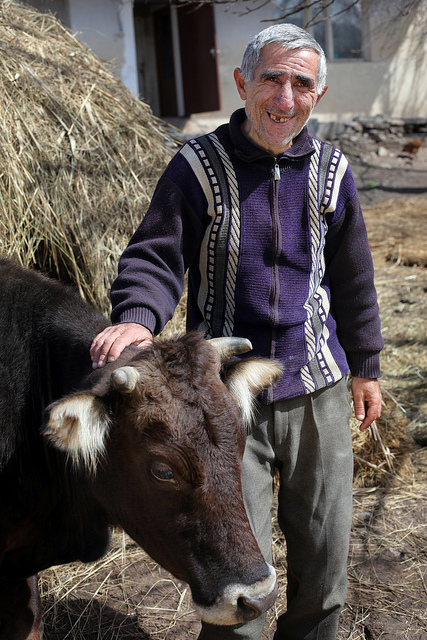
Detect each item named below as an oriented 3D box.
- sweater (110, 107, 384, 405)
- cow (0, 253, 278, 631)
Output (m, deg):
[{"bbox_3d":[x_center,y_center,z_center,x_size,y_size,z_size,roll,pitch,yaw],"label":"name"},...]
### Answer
[{"bbox_3d":[0.106,-0.228,2.310,1.115,0.944,0.541,-4,18,-24],"label":"sweater"},{"bbox_3d":[-0.374,0.334,2.238,0.632,0.751,1.588,-6,11,-41],"label":"cow"}]
